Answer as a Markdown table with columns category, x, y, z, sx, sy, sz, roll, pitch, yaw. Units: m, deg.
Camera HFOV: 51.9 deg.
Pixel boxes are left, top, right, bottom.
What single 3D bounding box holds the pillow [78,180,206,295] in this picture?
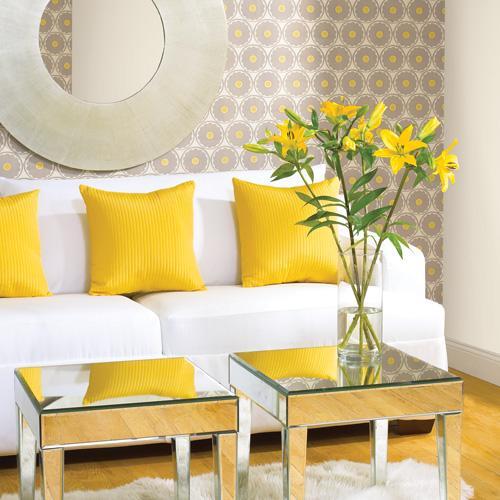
| category | x | y | z | sx | sy | sz | roll | pitch | yaw |
| --- | --- | --- | --- | --- | --- | --- | --- | --- | --- |
| pillow | -0.497 | -0.042 | 2.273 | 0.428 | 0.451 | 0.233 | -5 | 7 | -16 |

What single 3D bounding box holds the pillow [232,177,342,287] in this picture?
| category | x | y | z | sx | sy | sz | roll | pitch | yaw |
| --- | --- | --- | --- | --- | --- | --- | --- | --- | --- |
| pillow | 0.153 | -0.059 | 2.262 | 0.427 | 0.494 | 0.174 | -1 | -15 | -8 |

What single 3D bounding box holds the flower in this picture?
| category | x | y | z | sx | sy | sz | roll | pitch | yaw |
| --- | --- | --- | --- | --- | --- | --- | --- | --- | --- |
| flower | 0.262 | -0.048 | 1.298 | 0.428 | 0.601 | 0.451 | 0 | 1 | 2 |
